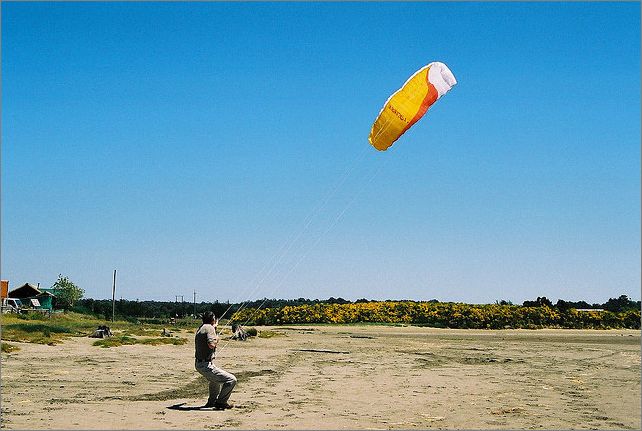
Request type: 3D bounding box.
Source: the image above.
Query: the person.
[{"bbox_3d":[-3.656,5.001,19.103,1.233,3.327,1.125,-3,-9,25],"label":"person"}]
